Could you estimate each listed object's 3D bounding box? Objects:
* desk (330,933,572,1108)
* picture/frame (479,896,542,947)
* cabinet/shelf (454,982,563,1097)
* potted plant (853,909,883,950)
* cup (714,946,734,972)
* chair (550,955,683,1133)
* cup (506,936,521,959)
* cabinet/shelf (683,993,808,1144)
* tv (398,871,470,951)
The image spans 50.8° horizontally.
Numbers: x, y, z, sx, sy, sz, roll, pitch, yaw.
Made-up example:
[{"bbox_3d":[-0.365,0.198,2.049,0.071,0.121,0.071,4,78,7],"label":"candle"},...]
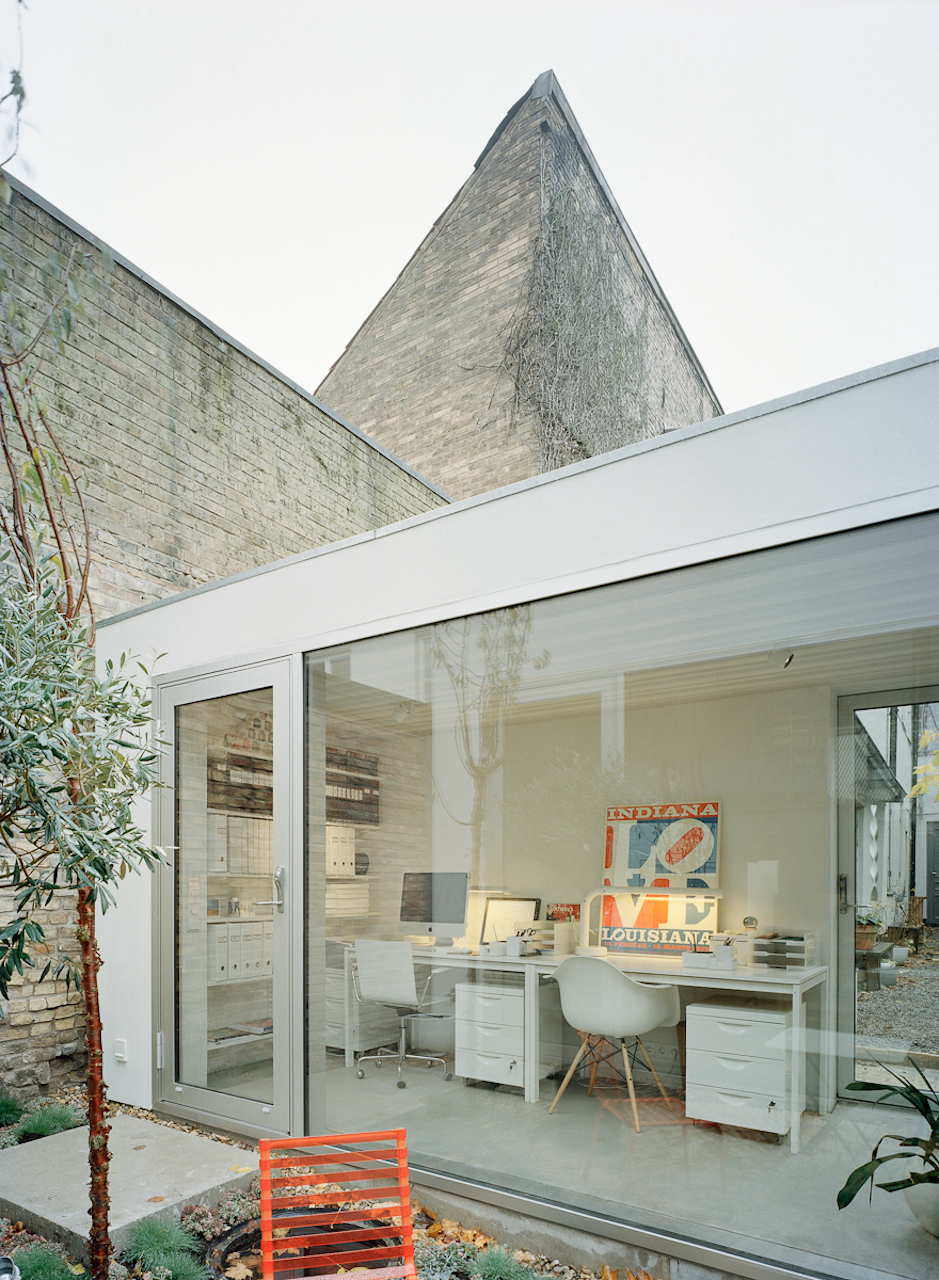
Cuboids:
[{"bbox_3d":[-0.080,1.366,3.595,0.791,0.467,0.334,-8,-12,34],"label":"desk"},{"bbox_3d":[0.146,0.948,3.339,0.095,0.169,0.175,7,-13,-43],"label":"picture/frame"},{"bbox_3d":[0.158,1.390,3.474,0.341,0.307,0.352,-8,-18,32],"label":"cabinet/shelf"},{"bbox_3d":[1.032,0.757,2.565,0.088,0.093,0.083,-1,-3,32],"label":"potted plant"},{"bbox_3d":[0.734,0.919,2.842,0.038,0.075,0.073,11,-13,-44],"label":"cup"},{"bbox_3d":[0.449,1.254,3.173,0.364,0.492,0.356,-9,-13,41],"label":"chair"},{"bbox_3d":[0.148,1.039,3.334,0.066,0.067,0.042,3,-3,-16],"label":"cup"},{"bbox_3d":[0.773,1.193,2.724,0.406,0.408,0.226,-8,-15,39],"label":"cabinet/shelf"},{"bbox_3d":[-0.119,0.978,3.566,0.291,0.279,0.097,-7,-12,36],"label":"tv"}]
